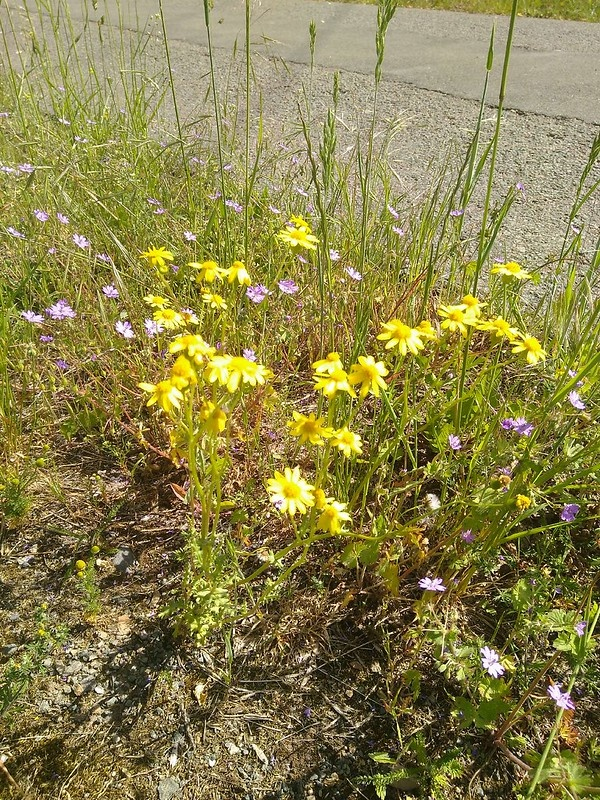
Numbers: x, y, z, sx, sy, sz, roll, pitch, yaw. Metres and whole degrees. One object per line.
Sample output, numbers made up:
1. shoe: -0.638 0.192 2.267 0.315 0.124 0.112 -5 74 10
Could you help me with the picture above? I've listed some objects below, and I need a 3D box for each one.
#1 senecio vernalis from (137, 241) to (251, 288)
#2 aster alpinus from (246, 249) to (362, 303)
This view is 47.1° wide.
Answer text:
1. senecio vernalis: -0.380 -0.481 2.470 0.344 0.188 0.349 -14 26 -22
2. aster alpinus: 0.016 -0.470 2.624 0.479 0.110 0.140 -28 83 1
